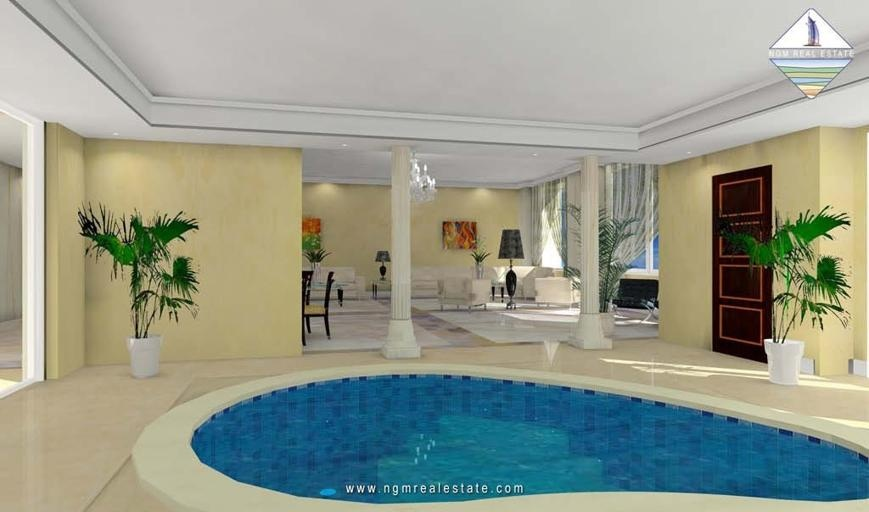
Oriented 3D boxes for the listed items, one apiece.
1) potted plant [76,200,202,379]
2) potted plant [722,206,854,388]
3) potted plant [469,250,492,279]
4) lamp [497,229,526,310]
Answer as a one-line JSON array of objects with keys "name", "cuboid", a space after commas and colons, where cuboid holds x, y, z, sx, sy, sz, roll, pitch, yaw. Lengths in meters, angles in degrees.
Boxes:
[{"name": "potted plant", "cuboid": [-4.509, 0.447, 7.552, 1.640, 2.451, 1.288, 5, 8, 31]}, {"name": "potted plant", "cuboid": [5.511, 0.579, 8.160, 2.515, 2.985, 2.320, 2, -3, -42]}, {"name": "potted plant", "cuboid": [1.605, 0.256, 16.326, 0.889, 0.830, 0.858, 0, 0, -19]}, {"name": "lamp", "cuboid": [2.302, 0.336, 14.741, 0.640, 2.345, 3.078, 3, 7, 10]}]
